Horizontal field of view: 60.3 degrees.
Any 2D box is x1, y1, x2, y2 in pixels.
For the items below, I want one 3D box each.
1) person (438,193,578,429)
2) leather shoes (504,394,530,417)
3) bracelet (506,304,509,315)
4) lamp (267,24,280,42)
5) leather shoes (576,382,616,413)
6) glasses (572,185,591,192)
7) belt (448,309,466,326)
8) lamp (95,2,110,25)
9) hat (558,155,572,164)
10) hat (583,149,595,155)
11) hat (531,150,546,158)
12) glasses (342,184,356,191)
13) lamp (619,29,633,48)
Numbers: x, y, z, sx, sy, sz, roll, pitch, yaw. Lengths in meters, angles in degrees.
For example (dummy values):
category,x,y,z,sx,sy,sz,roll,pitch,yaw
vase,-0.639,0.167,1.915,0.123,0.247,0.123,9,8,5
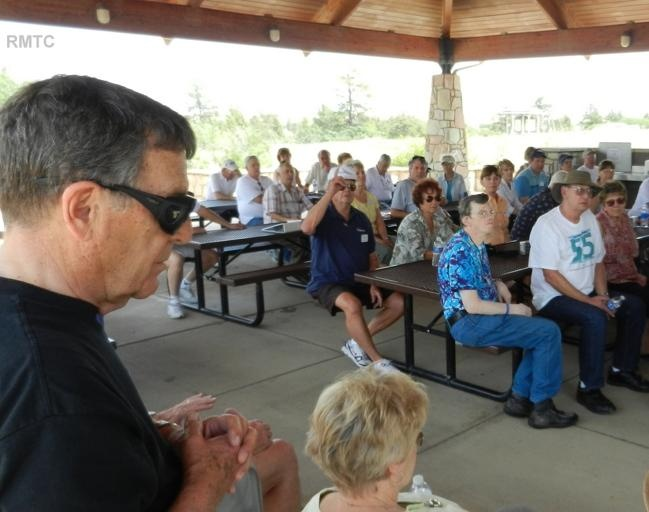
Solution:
category,x,y,z,sx,sy,sz,roll,pitch,yaw
person,1.261,0.350,3.911,0.939,1.562,0.474,1,10,24
leather shoes,1.349,1.058,3.947,0.208,0.129,0.102,3,4,-29
bracelet,1.259,0.368,3.841,0.034,0.074,0.015,-8,10,-26
lamp,-0.955,-4.136,10.320,0.238,0.340,0.082,-2,19,-9
leather shoes,1.923,1.022,4.017,0.141,0.114,0.276,-15,16,-31
glasses,1.900,-0.491,4.128,0.135,0.055,0.049,-3,9,-1
belt,0.954,0.444,4.047,0.119,0.031,0.121,-39,-8,32
lamp,-3.367,-3.615,8.351,0.192,0.283,0.289,0,-1,-8
hat,4.769,-1.926,11.004,0.217,0.130,0.267,-2,7,4
hat,5.524,-2.182,11.643,0.253,0.164,0.241,0,9,18
hat,3.737,-1.786,9.779,0.209,0.157,0.370,1,9,23
glasses,0.239,-0.612,5.005,0.060,0.065,0.153,4,10,38
lamp,6.057,-4.356,11.198,0.206,0.339,0.239,1,10,26
